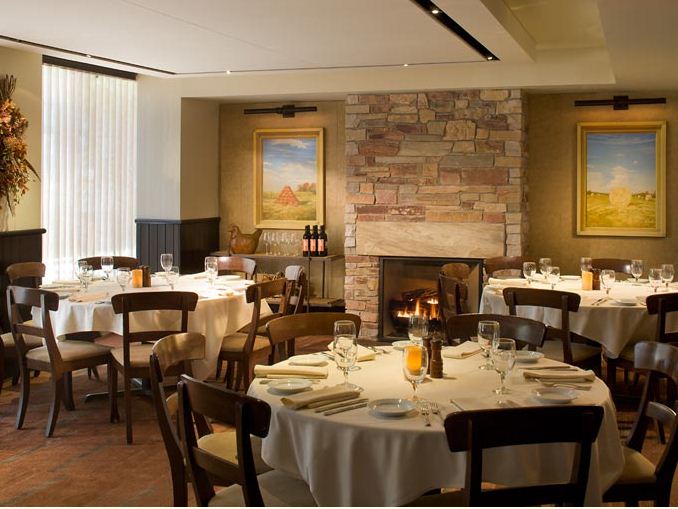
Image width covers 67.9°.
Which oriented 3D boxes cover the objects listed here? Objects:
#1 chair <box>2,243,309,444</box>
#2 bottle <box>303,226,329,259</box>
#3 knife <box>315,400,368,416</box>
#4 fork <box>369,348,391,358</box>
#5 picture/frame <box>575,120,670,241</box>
[{"bbox_3d":[-1.375,0.509,3.911,1.523,0.811,1.433,0,-4,-8],"label":"chair"},{"bbox_3d":[-0.316,-0.165,6.849,0.315,0.411,0.439,-1,9,0],"label":"bottle"},{"bbox_3d":[0.004,0.569,1.869,0.138,0.016,0.027,-4,7,-24],"label":"knife"},{"bbox_3d":[0.209,0.507,2.611,0.048,0.007,0.148,-1,3,-7],"label":"fork"},{"bbox_3d":[3.374,-0.871,6.044,0.965,1.346,0.224,1,10,12],"label":"picture/frame"}]
